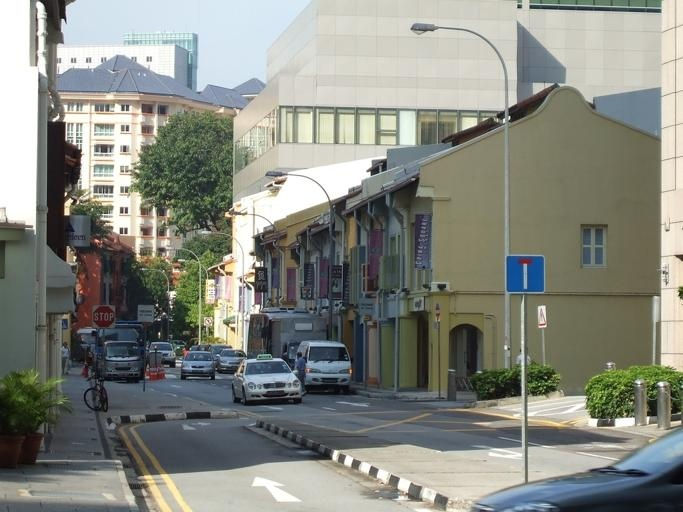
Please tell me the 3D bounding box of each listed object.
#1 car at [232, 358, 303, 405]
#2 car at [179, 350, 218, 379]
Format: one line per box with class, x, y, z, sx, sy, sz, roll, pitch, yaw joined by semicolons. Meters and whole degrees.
car;-2.733;4.668;45.357;2.378;1.752;2.634;1;-6;-9
car;-8.084;6.068;67.649;1.964;1.595;1.677;3;-7;-29
